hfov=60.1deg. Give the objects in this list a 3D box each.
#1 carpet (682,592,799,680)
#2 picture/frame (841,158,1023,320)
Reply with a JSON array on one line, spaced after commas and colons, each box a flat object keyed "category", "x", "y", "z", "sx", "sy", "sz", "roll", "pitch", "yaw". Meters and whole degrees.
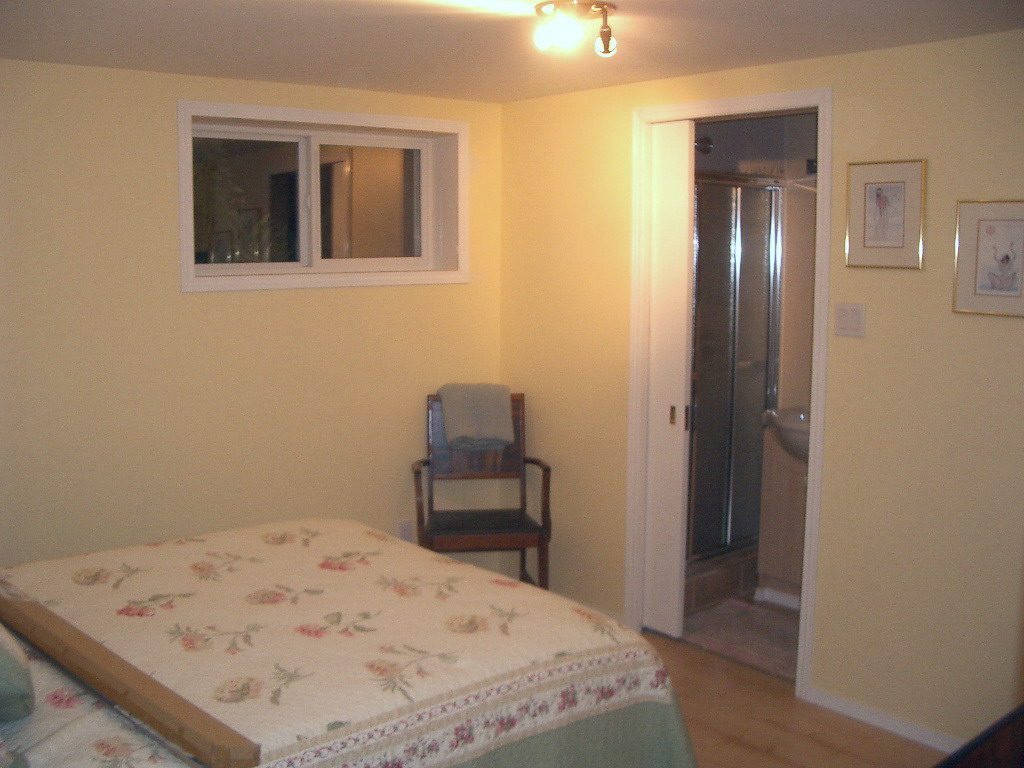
[{"category": "carpet", "x": 1.196, "y": 1.283, "z": 4.606, "sx": 0.575, "sy": 0.016, "sz": 0.845, "roll": 4, "pitch": 12, "yaw": 20}, {"category": "picture/frame", "x": 1.671, "y": -0.588, "z": 3.514, "sx": 0.707, "sy": 0.598, "sz": 0.056, "roll": 9, "pitch": 15, "yaw": 41}]
